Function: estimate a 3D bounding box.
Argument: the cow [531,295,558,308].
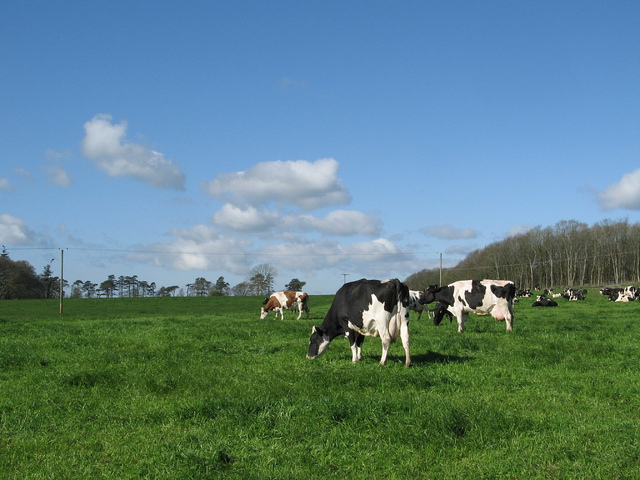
[{"bbox_3d":[21.188,5.900,51.566,1.468,0.830,2.013,0,-4,-6],"label":"cow"}]

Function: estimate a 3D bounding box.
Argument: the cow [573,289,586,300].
[{"bbox_3d":[32.148,6.890,67.269,0.961,1.804,3.359,2,0,31],"label":"cow"}]

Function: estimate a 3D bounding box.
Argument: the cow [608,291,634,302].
[{"bbox_3d":[31.163,5.959,56.395,1.939,1.001,3.151,3,-10,-19],"label":"cow"}]

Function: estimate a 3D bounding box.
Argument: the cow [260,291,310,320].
[{"bbox_3d":[-2.978,5.561,45.606,3.681,2.410,7.564,0,-10,-5],"label":"cow"}]

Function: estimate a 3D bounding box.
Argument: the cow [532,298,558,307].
[{"bbox_3d":[21.186,5.993,51.041,1.836,0.962,1.026,-3,-27,4],"label":"cow"}]

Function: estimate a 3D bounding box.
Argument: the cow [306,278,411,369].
[{"bbox_3d":[2.349,3.407,22.245,4.536,3.253,5.024,-6,-11,31],"label":"cow"}]
